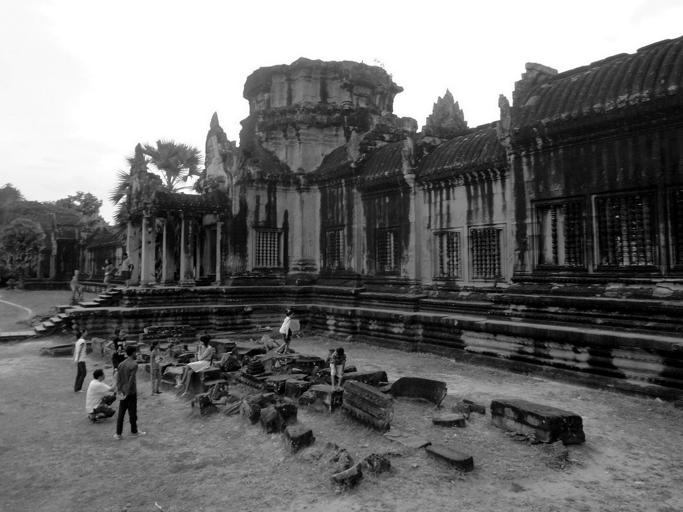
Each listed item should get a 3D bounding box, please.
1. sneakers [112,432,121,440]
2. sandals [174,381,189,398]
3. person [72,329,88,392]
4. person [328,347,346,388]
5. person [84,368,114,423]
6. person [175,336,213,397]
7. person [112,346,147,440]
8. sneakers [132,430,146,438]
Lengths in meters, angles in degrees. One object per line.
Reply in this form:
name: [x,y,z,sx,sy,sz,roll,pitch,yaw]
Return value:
sneakers: [-3.737,3.001,9.117,0.069,0.066,0.152,1,-4,1]
sandals: [-3.249,2.714,11.139,0.181,0.198,0.436,-9,11,-34]
person: [-5.627,2.349,11.758,0.334,1.046,0.786,-7,11,-27]
person: [-0.071,2.094,10.330,0.261,0.784,0.670,-3,9,-2]
person: [-4.322,2.485,9.968,0.510,0.845,0.563,-6,-1,13]
person: [-2.983,2.230,11.169,0.769,1.065,0.497,-6,10,-17]
person: [-3.790,2.358,9.602,0.469,1.399,1.276,-6,10,-21]
sneakers: [-3.392,2.985,9.228,0.200,0.064,0.187,-11,13,-42]
